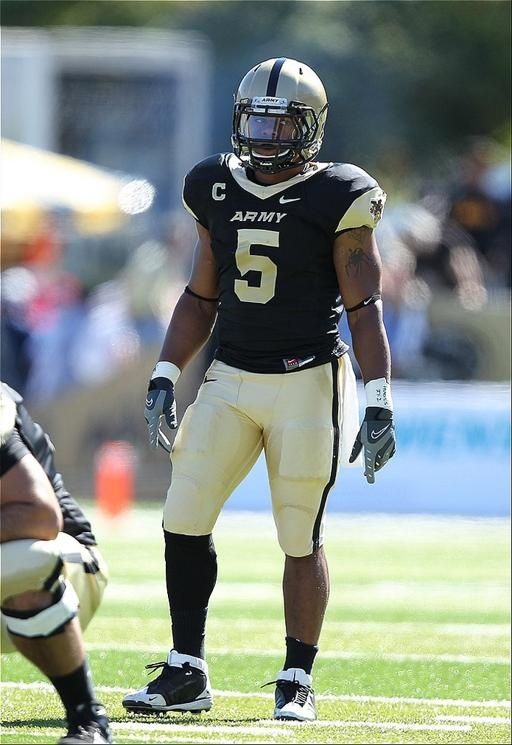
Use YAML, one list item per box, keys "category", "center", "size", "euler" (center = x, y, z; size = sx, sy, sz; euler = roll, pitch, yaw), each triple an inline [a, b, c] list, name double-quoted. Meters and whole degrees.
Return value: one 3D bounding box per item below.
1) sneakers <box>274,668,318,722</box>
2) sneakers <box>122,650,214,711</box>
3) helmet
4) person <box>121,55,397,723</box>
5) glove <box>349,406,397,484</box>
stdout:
- category: "sneakers"
  center: [0.103, 0.807, 2.316]
  size: [0.110, 0.116, 0.131]
  euler: [3, -5, 3]
- category: "sneakers"
  center: [-0.263, 0.792, 2.375]
  size: [0.299, 0.173, 0.097]
  euler: [5, -25, -9]
- category: "helmet"
  center: [0.111, -0.691, 2.538]
  size: [0.287, 0.268, 0.333]
  euler: [4, 37, 13]
- category: "person"
  center: [0.030, 0.003, 2.523]
  size: [0.671, 1.774, 0.434]
  euler: [4, -5, 1]
- category: "glove"
  center: [0.304, 0.187, 2.394]
  size: [0.112, 0.193, 0.206]
  euler: [3, -5, 7]
